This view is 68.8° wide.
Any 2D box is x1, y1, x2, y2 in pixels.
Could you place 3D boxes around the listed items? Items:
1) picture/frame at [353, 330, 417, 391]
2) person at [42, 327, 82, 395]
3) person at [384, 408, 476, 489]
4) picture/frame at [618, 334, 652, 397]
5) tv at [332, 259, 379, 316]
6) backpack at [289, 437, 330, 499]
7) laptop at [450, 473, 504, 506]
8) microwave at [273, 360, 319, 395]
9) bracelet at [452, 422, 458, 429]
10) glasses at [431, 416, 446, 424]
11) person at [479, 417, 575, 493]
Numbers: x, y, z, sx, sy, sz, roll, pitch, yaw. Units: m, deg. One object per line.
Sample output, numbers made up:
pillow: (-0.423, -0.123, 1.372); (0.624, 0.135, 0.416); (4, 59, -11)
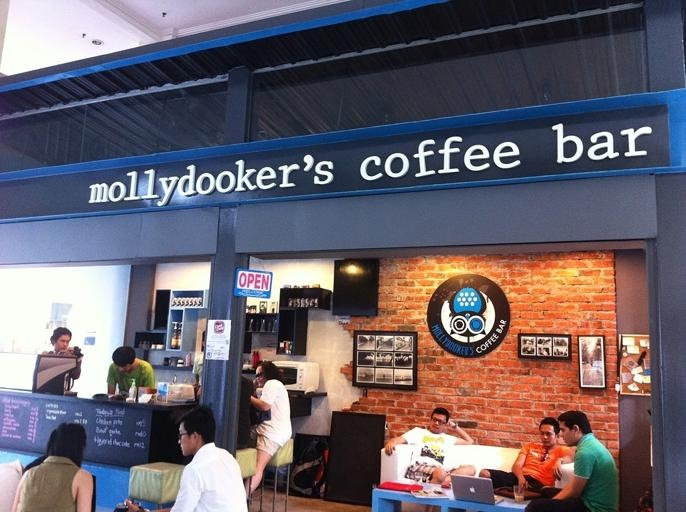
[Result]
picture/frame: (0.644, 1.564, 7.389); (0.933, 0.769, 0.074); (1, -10, 15)
person: (-3.758, 1.391, 6.811); (0.414, 0.852, 1.813); (7, -11, -27)
person: (1.142, 2.481, 6.414); (0.620, 0.738, 0.420); (15, -46, 2)
picture/frame: (3.657, 1.376, 6.355); (0.341, 0.766, 0.111); (1, -10, 9)
tv: (0.206, 0.490, 7.607); (0.853, 1.019, 0.117); (-1, -4, 13)
backpack: (-0.470, 3.020, 7.209); (0.619, 0.770, 0.353); (0, -10, 13)
laptop: (1.308, 2.333, 5.034); (0.410, 0.277, 0.260); (-5, -12, 35)
microwave: (-0.672, 1.792, 7.640); (0.729, 0.473, 0.517); (-7, -21, 32)
bracelet: (1.517, 2.307, 6.835); (0.099, 0.029, 0.099); (17, -9, 6)
glasses: (1.227, 2.108, 6.438); (0.186, 0.112, 0.091); (1, -10, 9)
person: (2.247, 2.359, 6.113); (1.069, 0.781, 0.778); (9, -8, -40)
